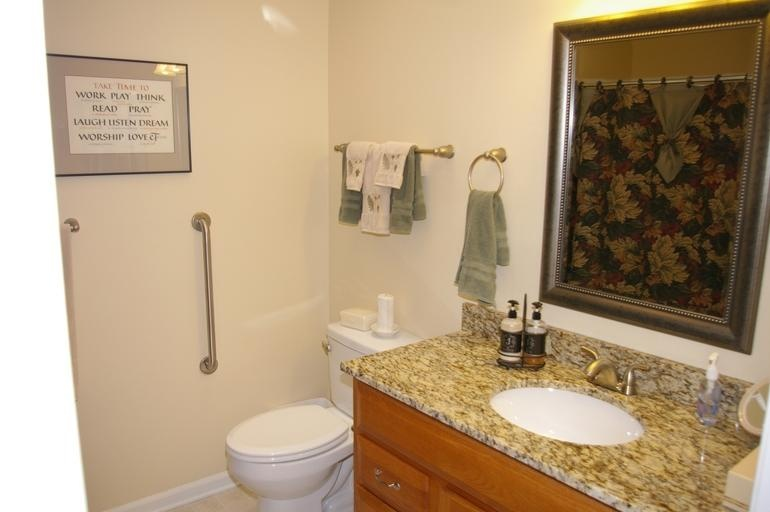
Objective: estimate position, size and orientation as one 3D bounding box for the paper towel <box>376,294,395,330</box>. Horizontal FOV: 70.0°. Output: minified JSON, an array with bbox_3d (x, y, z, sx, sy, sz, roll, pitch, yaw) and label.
[{"bbox_3d":[0.017,0.255,2.617,0.065,0.155,0.064,-7,7,28],"label":"paper towel"}]

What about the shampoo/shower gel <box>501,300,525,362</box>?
[{"bbox_3d":[0.467,0.298,2.039,0.086,0.206,0.059,1,15,12],"label":"shampoo/shower gel"}]

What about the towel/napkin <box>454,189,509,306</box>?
[{"bbox_3d":[0.375,-0.041,2.178,0.202,0.415,0.206,4,16,21],"label":"towel/napkin"}]

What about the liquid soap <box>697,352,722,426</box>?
[{"bbox_3d":[0.989,0.412,1.674,0.058,0.242,0.126,8,18,33],"label":"liquid soap"}]

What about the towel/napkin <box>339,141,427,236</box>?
[{"bbox_3d":[0.002,-0.319,2.566,0.426,0.322,0.113,9,11,42],"label":"towel/napkin"}]
